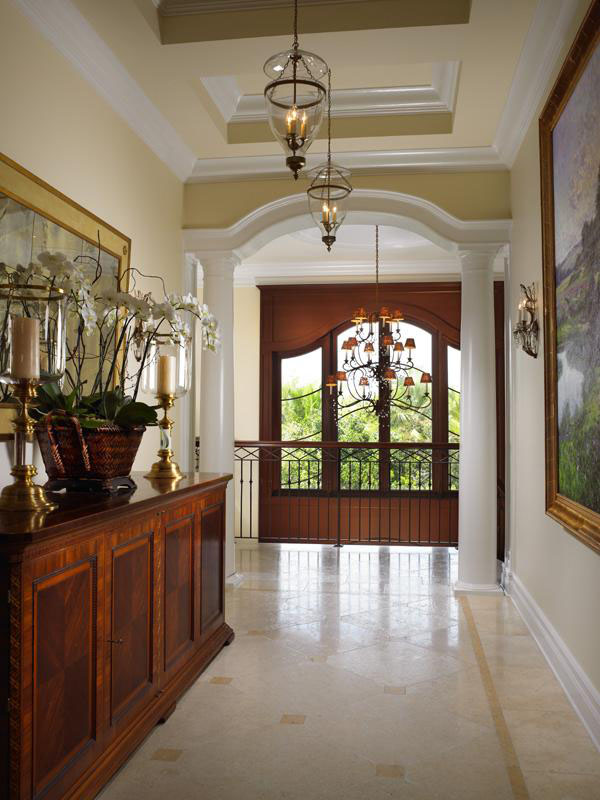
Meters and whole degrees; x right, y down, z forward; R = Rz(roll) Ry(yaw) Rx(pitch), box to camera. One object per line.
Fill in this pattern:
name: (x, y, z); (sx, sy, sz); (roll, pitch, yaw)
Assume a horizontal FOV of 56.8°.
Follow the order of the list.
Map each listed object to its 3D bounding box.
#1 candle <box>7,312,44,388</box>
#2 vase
candle: (-0.781, -0.133, 1.535); (0.125, 0.185, 0.064); (-5, -9, 44)
vase: (-0.836, 0.235, 2.218); (0.274, 0.257, 0.371); (3, -4, 9)
